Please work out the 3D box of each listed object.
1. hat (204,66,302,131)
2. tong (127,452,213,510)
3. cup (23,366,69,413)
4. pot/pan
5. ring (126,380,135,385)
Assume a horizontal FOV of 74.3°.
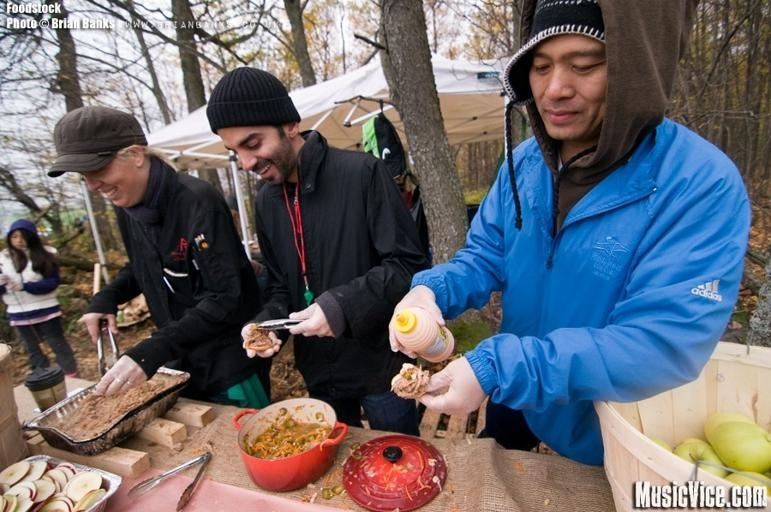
[{"bbox_3d":[-0.993,-1.231,4.022,0.691,0.482,0.807,-5,20,-11],"label":"hat"},{"bbox_3d":[-1.374,1.518,3.344,0.535,0.176,0.307,-15,17,-28],"label":"tong"},{"bbox_3d":[-2.673,1.059,4.068,0.232,0.297,0.235,-6,16,2],"label":"cup"},{"bbox_3d":[-0.643,1.300,3.430,0.594,0.358,0.726,-7,12,-31],"label":"pot/pan"},{"bbox_3d":[-1.788,0.901,3.598,0.039,0.015,0.034,-4,-3,5],"label":"ring"}]
